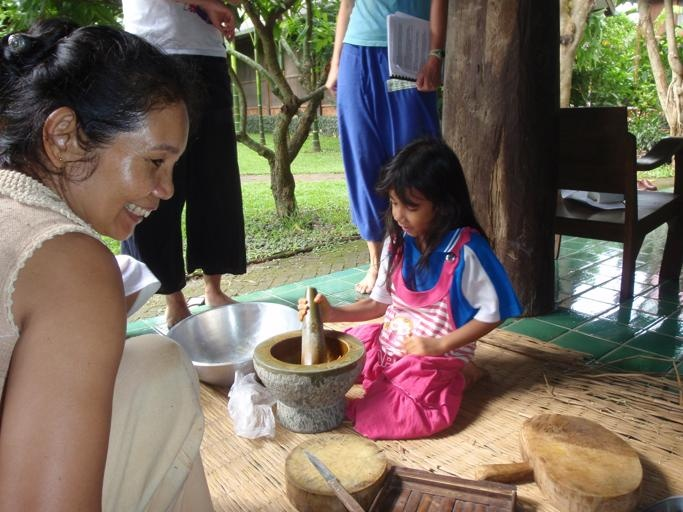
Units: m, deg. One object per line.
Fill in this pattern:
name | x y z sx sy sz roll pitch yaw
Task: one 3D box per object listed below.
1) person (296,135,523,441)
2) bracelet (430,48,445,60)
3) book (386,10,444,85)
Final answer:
person | 0.365 0.082 2.504 0.832 1.202 0.722 -5 11 -3
bracelet | 0.590 -1.230 3.344 0.096 0.055 0.071 -6 20 -34
book | 0.414 -1.238 3.236 0.432 0.453 0.109 -7 8 -38
